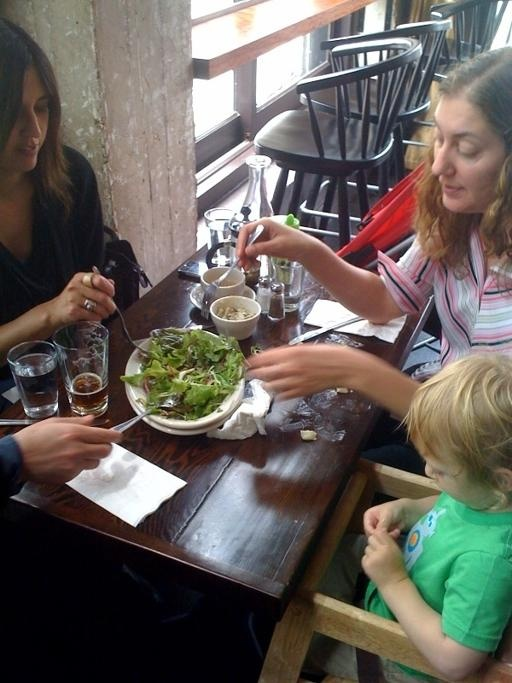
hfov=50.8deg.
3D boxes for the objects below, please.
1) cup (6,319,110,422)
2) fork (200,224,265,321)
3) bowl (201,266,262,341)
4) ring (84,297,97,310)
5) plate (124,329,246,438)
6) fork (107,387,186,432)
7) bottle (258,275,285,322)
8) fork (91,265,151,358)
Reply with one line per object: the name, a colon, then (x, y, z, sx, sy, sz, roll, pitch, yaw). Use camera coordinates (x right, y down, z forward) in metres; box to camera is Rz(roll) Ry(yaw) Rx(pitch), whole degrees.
cup: (-0.323, 0.054, 1.043, 0.192, 0.173, 0.201, -3, 35, 2)
fork: (-0.056, -0.178, 1.447, 0.053, 0.054, 0.400, -8, 39, 41)
bowl: (-0.058, -0.102, 1.390, 0.107, 0.055, 0.240, -2, 33, -3)
ring: (-0.371, -0.086, 1.216, 0.021, 0.028, 0.015, -15, 50, 9)
plate: (-0.146, 0.087, 1.103, 0.227, 0.090, 0.211, -5, 45, -18)
fork: (-0.203, 0.134, 1.040, 0.144, 0.020, 0.024, -28, 67, 9)
bottle: (0.041, -0.106, 1.402, 0.060, 0.104, 0.106, -17, 38, -10)
fork: (-0.341, -0.076, 1.362, 0.035, 0.311, 0.038, -24, 10, 39)
